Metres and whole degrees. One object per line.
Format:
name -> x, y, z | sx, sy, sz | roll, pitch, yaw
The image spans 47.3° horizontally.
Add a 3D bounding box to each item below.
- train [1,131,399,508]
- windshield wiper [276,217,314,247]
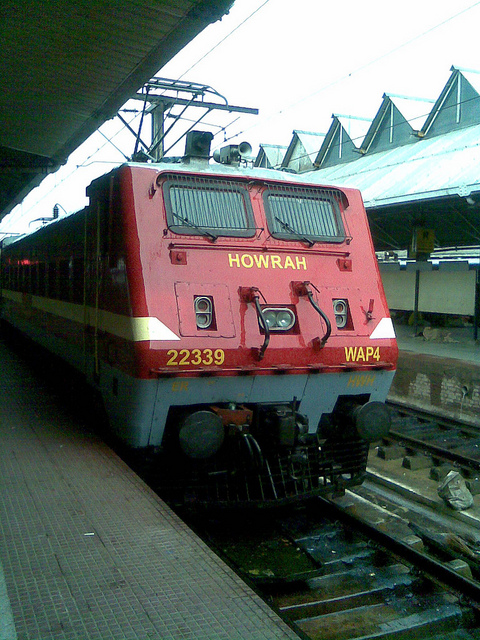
train -> -0.740, -0.094, 5.921 | 2.341, 3.245, 4.088 | 9, -1, -36
windshield wiper -> 0.494, -0.806, 5.071 | 0.052, 0.397, 0.076 | -50, -3, -25
